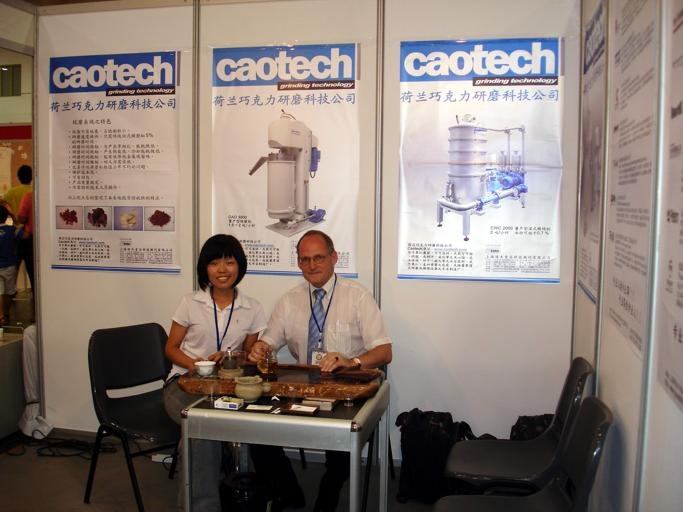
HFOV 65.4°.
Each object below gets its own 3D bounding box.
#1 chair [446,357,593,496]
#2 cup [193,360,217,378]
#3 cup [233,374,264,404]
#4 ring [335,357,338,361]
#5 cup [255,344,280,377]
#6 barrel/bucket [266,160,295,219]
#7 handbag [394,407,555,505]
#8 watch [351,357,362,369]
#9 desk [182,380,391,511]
[{"bbox_3d":[0.890,0.841,2.729,0.676,0.709,0.465,1,4,20],"label":"chair"},{"bbox_3d":[-0.665,0.543,2.595,0.078,0.051,0.080,4,1,0],"label":"cup"},{"bbox_3d":[-0.414,0.601,2.384,0.113,0.086,0.090,2,-1,-10],"label":"cup"},{"bbox_3d":[-0.022,0.509,2.627,0.012,0.010,0.013,2,3,0],"label":"ring"},{"bbox_3d":[-0.368,0.550,2.693,0.079,0.120,0.113,1,-2,-8],"label":"cup"},{"bbox_3d":[-0.402,-0.454,3.621,0.188,0.392,0.133,-2,6,-7],"label":"barrel/bucket"},{"bbox_3d":[0.799,1.208,3.321,0.808,0.792,0.523,2,-8,9],"label":"handbag"},{"bbox_3d":[0.074,0.535,2.713,0.039,0.058,0.059,-1,16,-35],"label":"watch"},{"bbox_3d":[-0.192,0.695,2.474,0.558,0.614,0.659,0,-1,11],"label":"desk"}]
